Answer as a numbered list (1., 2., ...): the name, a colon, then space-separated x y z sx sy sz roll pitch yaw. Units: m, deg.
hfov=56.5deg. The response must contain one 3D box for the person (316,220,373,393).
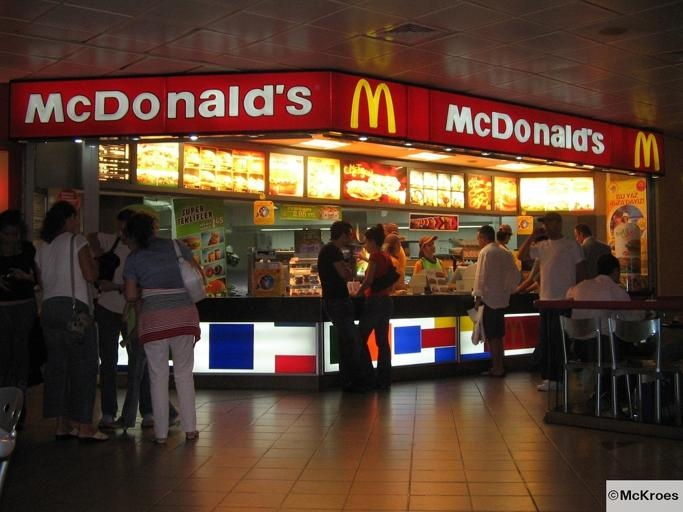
1. person: 0.013 0.545 7.015 0.489 1.861 0.517 -2 -1 19

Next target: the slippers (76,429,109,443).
1. slippers: -2.056 1.477 5.237 0.220 0.068 0.111 3 2 -30

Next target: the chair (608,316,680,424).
1. chair: 2.507 0.939 5.263 0.548 0.605 0.489 -2 -1 24

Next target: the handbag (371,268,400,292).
1. handbag: 0.486 0.254 7.103 0.294 0.271 0.150 -2 -1 2

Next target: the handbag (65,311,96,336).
1. handbag: -2.120 0.547 5.149 0.208 0.187 0.148 13 -19 -32

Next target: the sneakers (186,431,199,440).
1. sneakers: -1.233 1.476 5.263 0.045 0.056 0.137 2 2 11

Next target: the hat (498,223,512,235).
1. hat: 2.471 -0.412 9.581 0.237 0.134 0.362 5 9 31

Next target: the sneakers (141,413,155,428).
1. sneakers: -1.754 1.492 5.738 0.138 0.068 0.144 0 0 -4
